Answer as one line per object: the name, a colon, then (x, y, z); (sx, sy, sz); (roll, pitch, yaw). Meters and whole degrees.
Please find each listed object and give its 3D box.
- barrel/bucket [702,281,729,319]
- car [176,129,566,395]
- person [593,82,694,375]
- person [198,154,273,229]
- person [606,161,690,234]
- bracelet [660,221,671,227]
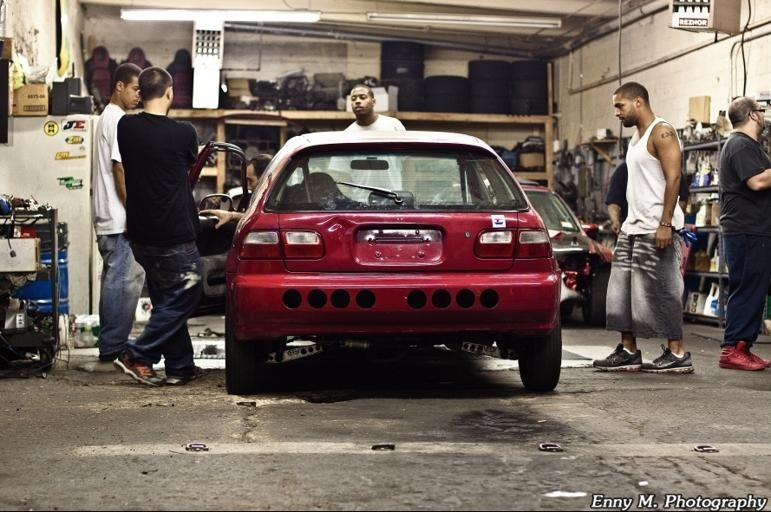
barrel/bucket: (4.301, 0.576, 12.407); (0.247, 0.394, 0.383); (3, 6, -17)
car: (-0.329, -0.327, 9.169); (2.939, 1.765, 4.460); (1, 10, -4)
person: (2.386, -0.256, 8.691); (0.865, 2.592, 0.568); (3, 9, 17)
person: (-1.825, -0.778, 10.741); (1.161, 0.539, 0.647); (2, -1, -9)
person: (2.373, -0.523, 8.719); (0.393, 0.895, 0.831); (-3, 4, -19)
bracelet: (2.463, -0.276, 8.472); (0.093, 0.040, 0.032); (1, 9, 5)
